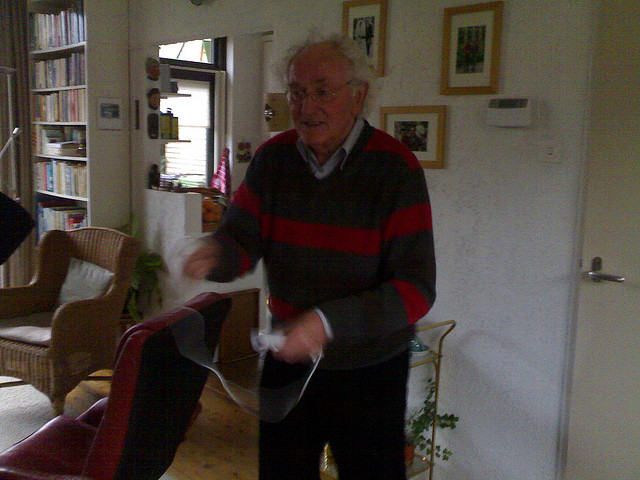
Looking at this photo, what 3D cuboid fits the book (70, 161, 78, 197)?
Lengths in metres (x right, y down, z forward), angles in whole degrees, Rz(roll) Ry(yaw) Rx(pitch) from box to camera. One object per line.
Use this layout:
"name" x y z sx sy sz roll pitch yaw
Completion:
"book" -1.985 -0.490 4.289 0.054 0.257 0.155 0 8 -25

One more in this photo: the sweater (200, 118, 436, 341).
"sweater" 0.030 -0.027 1.380 0.476 0.577 0.538 1 14 -29

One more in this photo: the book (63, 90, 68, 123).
"book" -2.010 -1.067 4.205 0.068 0.235 0.009 10 9 40

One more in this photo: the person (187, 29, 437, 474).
"person" -0.030 0.058 1.327 0.498 1.169 0.582 -1 9 -36

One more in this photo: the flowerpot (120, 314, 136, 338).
"flowerpot" -1.484 0.655 4.079 0.170 0.143 0.160 1 1 -16

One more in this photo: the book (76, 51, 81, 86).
"book" -1.853 -1.315 4.092 0.057 0.232 0.017 8 9 31

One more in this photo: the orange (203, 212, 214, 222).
"orange" -0.824 -0.175 3.949 0.069 0.073 0.067 12 18 31

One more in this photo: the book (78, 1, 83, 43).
"book" -1.816 -1.661 4.033 0.030 0.312 0.101 0 8 -27

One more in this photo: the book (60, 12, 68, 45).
"book" -2.004 -1.663 4.170 0.089 0.246 0.013 10 9 39
